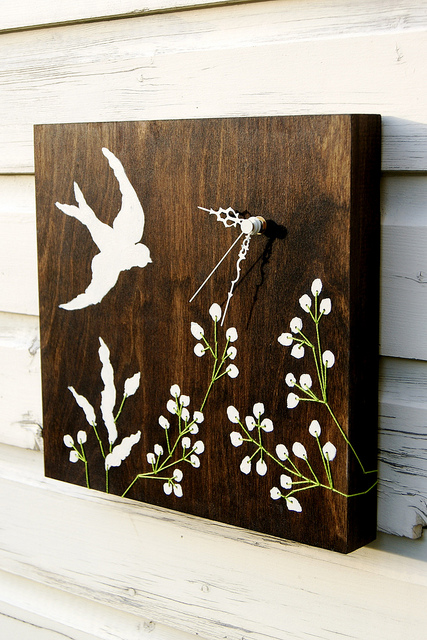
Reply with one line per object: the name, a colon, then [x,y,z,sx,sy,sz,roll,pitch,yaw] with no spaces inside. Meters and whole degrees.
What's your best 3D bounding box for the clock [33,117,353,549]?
clock: [-0.051,-0.007,0.766,0.468,0.473,0.097,-4,-8,34]
